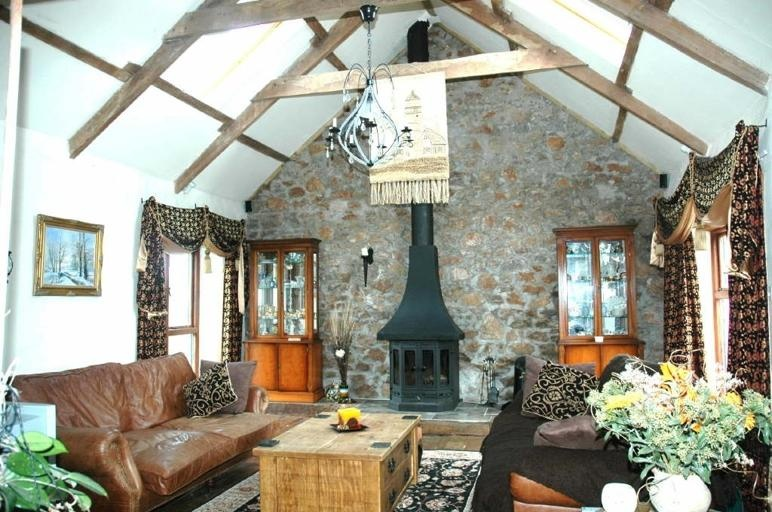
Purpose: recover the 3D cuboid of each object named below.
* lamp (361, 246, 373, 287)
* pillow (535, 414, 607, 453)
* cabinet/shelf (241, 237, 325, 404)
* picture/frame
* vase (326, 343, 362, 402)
[{"bbox_3d":[-0.264,0.155,8.698,0.190,0.623,0.279,-1,-7,-2],"label":"lamp"},{"bbox_3d":[1.508,1.458,4.603,0.580,0.181,0.443,-3,-3,17],"label":"pillow"},{"bbox_3d":[-1.617,0.993,8.690,1.121,2.498,0.295,-4,-8,16],"label":"cabinet/shelf"},{"bbox_3d":[-3.537,0.002,6.159,0.084,0.974,0.973,-1,-3,28],"label":"picture/frame"},{"bbox_3d":[-0.694,1.823,8.579,0.427,0.817,0.540,-1,-8,-6],"label":"vase"}]
